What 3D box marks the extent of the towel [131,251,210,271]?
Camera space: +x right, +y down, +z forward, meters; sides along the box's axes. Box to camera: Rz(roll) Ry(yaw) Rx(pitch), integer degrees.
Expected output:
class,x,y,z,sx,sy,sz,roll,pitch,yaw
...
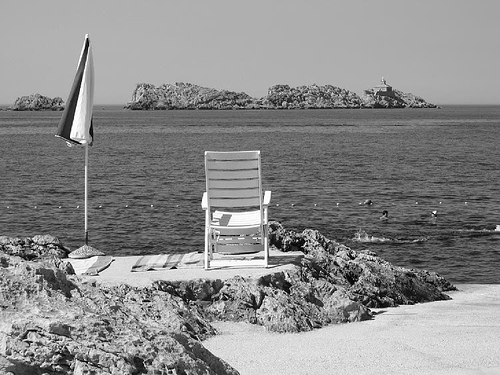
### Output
class,x,y,z,sx,sy,sz,roll,pitch,yaw
towel,-1.466,1.340,16.073,1.273,0.295,1.379,2,-2,-4

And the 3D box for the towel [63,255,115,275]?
class,x,y,z,sx,sy,sz,roll,pitch,yaw
towel,-2.860,1.394,16.064,0.836,0.254,1.472,2,-2,-10
